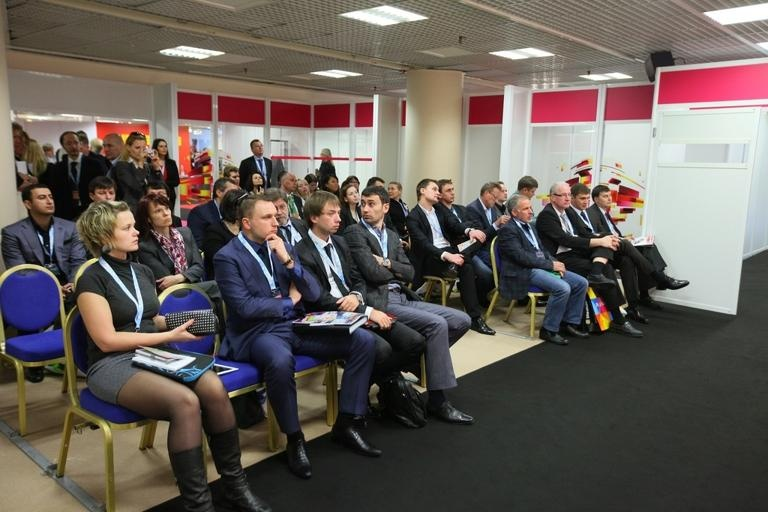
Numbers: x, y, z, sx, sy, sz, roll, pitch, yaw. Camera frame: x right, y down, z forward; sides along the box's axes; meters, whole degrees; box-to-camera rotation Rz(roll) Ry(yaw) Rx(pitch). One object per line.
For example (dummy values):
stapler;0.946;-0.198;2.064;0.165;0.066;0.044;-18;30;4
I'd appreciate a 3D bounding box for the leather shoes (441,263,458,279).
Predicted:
leather shoes;0.800;0.190;5.946;0.123;0.190;0.089;21;-15;-32

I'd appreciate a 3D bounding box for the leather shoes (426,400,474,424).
leather shoes;0.534;1.312;4.169;0.447;0.171;0.149;3;6;26

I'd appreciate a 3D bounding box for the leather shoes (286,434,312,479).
leather shoes;-0.625;1.407;3.539;0.123;0.151;0.353;-6;21;-20

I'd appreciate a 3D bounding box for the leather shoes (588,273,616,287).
leather shoes;2.637;0.296;5.974;0.322;0.138;0.153;0;0;5

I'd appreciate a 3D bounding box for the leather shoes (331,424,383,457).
leather shoes;-0.225;1.387;3.803;0.458;0.183;0.157;8;6;29

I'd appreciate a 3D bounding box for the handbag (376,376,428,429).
handbag;0.160;1.164;4.154;0.450;0.432;0.327;6;14;37

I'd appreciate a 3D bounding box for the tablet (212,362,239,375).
tablet;-1.100;0.782;3.425;0.110;0.063;0.168;8;15;41

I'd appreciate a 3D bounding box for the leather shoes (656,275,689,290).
leather shoes;3.941;0.367;6.689;0.475;0.212;0.173;-4;9;17

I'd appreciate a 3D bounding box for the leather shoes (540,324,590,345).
leather shoes;2.138;0.926;5.841;0.263;0.119;0.368;-10;-5;44

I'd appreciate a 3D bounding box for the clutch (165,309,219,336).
clutch;-1.260;0.428;3.256;0.227;0.079;0.221;-1;10;-11

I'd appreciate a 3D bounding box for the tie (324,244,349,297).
tie;-0.383;0.131;4.134;0.093;0.394;0.270;-36;36;6

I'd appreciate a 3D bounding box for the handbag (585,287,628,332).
handbag;2.674;0.662;5.997;0.169;0.498;0.213;-29;-3;-32
